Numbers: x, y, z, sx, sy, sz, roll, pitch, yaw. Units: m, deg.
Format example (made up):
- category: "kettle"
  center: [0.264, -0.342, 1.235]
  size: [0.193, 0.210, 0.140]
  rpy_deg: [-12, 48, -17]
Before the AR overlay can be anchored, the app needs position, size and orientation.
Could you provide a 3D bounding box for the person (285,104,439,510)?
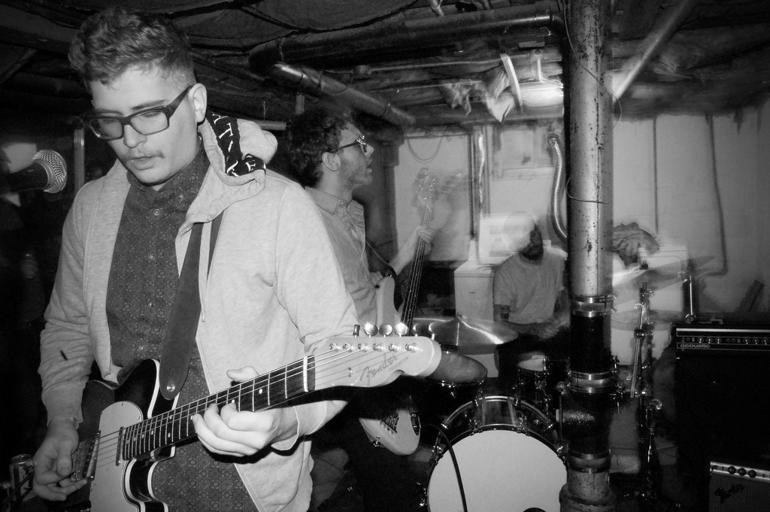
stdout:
- category: "person"
  center: [-0.458, 0.350, 6.327]
  size: [1.453, 3.590, 0.425]
  rpy_deg: [7, -18, -39]
